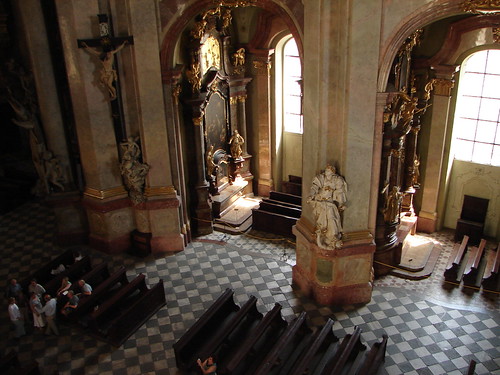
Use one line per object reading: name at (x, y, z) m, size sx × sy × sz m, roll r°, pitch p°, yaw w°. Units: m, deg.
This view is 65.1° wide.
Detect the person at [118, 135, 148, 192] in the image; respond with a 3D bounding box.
person at (-3.379, -0.650, 11.544) m, size 0.845 × 1.634 × 0.537 m, roll -2°, pitch 16°, yaw -13°

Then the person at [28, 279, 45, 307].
person at (-5.189, 2.626, 9.521) m, size 0.370 × 0.840 × 0.209 m, roll -1°, pitch 27°, yaw -24°

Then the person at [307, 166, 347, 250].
person at (1.810, 0.495, 9.235) m, size 0.863 × 2.052 × 0.388 m, roll 5°, pitch 16°, yaw 12°

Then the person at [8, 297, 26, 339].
person at (-5.518, 3.125, 9.264) m, size 0.303 × 1.001 × 0.386 m, roll -11°, pitch 49°, yaw -16°

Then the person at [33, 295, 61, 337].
person at (-4.716, 2.999, 9.165) m, size 0.351 × 0.988 × 0.465 m, roll 9°, pitch 13°, yaw 42°

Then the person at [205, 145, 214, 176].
person at (-1.359, -0.951, 13.544) m, size 0.184 × 1.030 × 0.483 m, roll 5°, pitch 16°, yaw 14°

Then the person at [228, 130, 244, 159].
person at (-0.462, -1.590, 14.602) m, size 0.369 × 1.067 × 0.671 m, roll 10°, pitch 18°, yaw 28°
